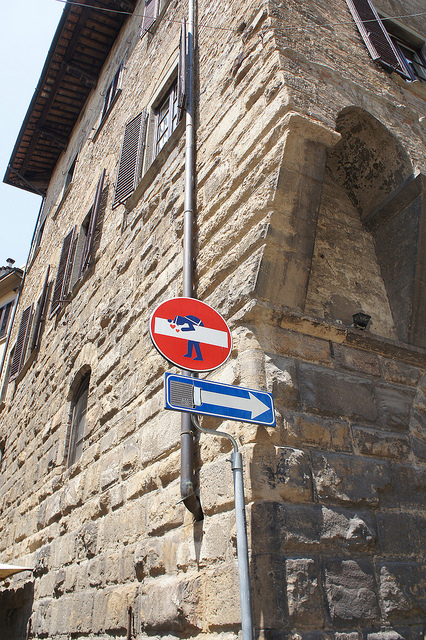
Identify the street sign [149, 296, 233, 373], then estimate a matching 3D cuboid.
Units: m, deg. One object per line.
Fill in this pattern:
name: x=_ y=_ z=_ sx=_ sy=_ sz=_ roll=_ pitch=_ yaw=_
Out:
street sign: x=-0.082 y=0.062 z=2.432 sx=0.503 sy=0.494 sz=0.011 roll=8 pitch=-38 yaw=-23
